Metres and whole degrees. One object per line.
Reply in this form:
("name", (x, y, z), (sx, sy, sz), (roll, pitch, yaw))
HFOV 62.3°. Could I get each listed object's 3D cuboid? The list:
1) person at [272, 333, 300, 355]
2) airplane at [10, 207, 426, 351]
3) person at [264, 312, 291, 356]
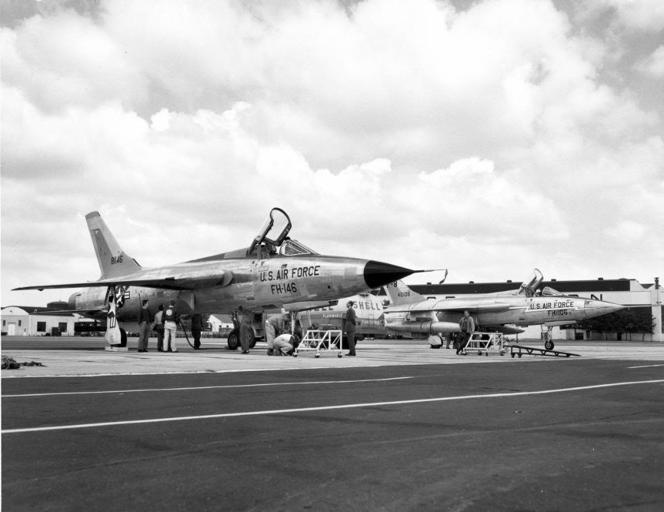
("person", (-1.675, 3.236, 19.621), (0.665, 0.502, 0.911), (-1, 0, 22))
("airplane", (-4.444, 1.071, 23.419), (10.320, 3.824, 8.520), (-7, 0, 33))
("person", (-1.956, 2.793, 20.365), (0.924, 1.406, 0.775), (-18, -47, 31))
